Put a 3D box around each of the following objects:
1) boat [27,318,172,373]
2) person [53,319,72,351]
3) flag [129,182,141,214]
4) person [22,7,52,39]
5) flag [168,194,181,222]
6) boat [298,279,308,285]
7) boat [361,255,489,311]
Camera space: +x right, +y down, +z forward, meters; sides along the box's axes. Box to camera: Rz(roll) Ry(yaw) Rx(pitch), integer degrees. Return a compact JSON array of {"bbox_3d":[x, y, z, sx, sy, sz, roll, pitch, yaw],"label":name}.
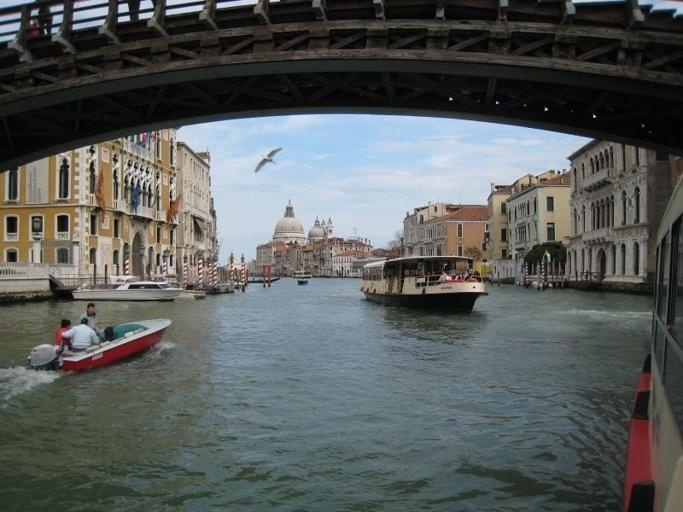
[{"bbox_3d":[-6.801,2.619,19.266,1.507,0.927,4.409,5,9,21],"label":"boat"},{"bbox_3d":[-7.751,2.110,18.243,0.366,0.840,2.172,0,2,-23],"label":"person"},{"bbox_3d":[-17.762,-4.973,56.338,0.685,2.598,1.419,0,1,-8],"label":"flag"},{"bbox_3d":[-8.158,-6.324,17.661,0.619,1.032,0.925,0,1,-23],"label":"person"},{"bbox_3d":[-16.634,-4.647,64.721,1.108,2.511,5.920,0,1,-15],"label":"flag"},{"bbox_3d":[-7.193,4.764,120.713,1.483,1.082,4.447,-3,-2,-1],"label":"boat"},{"bbox_3d":[4.901,1.685,39.721,3.334,2.196,10.162,-1,-3,-20],"label":"boat"}]
